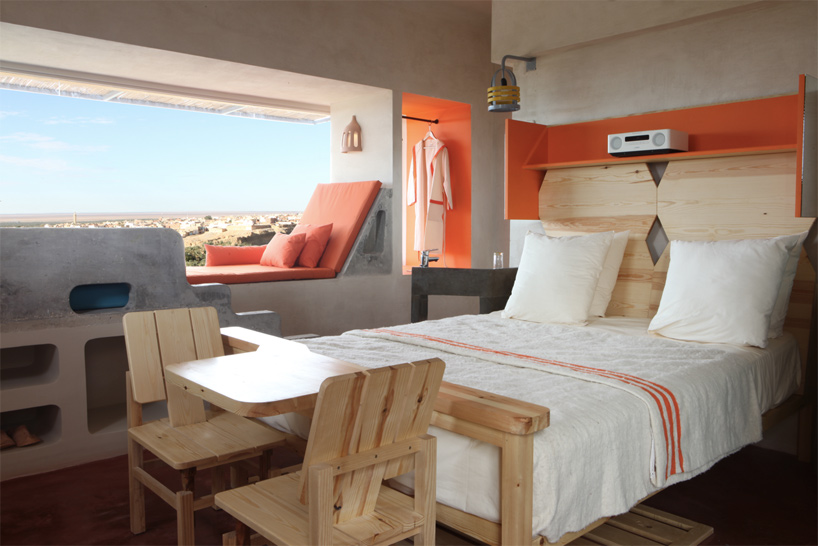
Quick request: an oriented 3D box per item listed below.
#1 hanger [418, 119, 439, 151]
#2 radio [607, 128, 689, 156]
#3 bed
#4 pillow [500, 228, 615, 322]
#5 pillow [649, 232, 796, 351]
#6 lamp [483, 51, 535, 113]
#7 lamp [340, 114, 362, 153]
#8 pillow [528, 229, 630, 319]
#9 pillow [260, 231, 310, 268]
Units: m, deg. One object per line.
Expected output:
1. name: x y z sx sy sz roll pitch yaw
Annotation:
1. hanger: 0.245 -1.629 6.473 0.186 0.292 0.199 3 13 11
2. radio: 1.616 -0.891 3.762 0.505 0.151 0.236 4 12 19
3. bed: 0.870 0.342 3.257 2.599 1.582 2.206 -7 9 -44
4. pillow: 1.016 0.002 3.795 0.744 0.612 0.220 6 -17 42
5. pillow: 1.890 0.063 3.365 0.418 0.570 0.732 -18 16 -40
6. lamp: 0.743 -1.395 4.005 0.452 0.393 0.246 -15 21 -41
7. lamp: -0.598 -1.439 5.705 0.215 0.369 0.137 -1 14 -7
8. pillow: 1.234 -0.016 3.875 0.692 0.570 0.208 9 -2 40
9. pillow: -1.235 -0.217 5.363 0.314 0.235 0.684 -22 12 -38
